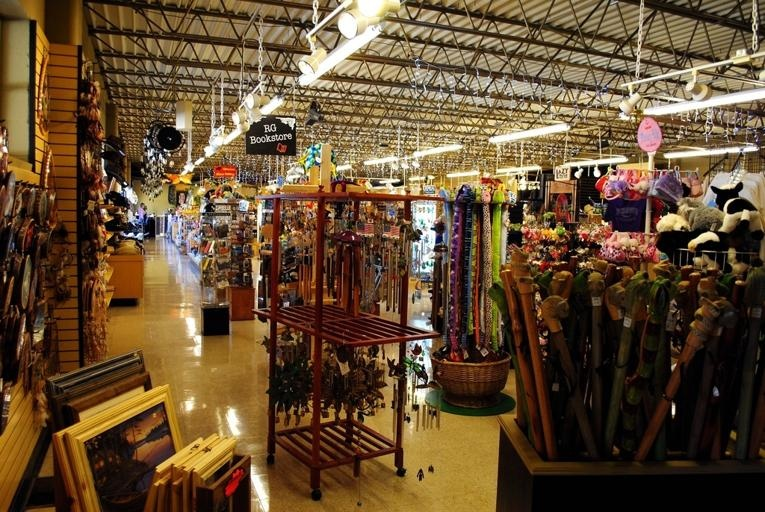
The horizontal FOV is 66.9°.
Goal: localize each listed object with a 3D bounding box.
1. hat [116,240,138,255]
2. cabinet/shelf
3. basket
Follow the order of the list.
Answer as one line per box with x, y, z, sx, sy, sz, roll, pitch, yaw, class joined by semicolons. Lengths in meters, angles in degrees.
-4.855;-0.153;10.970;0.442;0.256;0.289;-2;10;-23;hat
-0.344;0.884;5.581;1.156;3.606;2.679;1;1;-24;cabinet/shelf
0.956;1.281;6.552;0.679;0.443;0.698;-2;-1;35;basket
